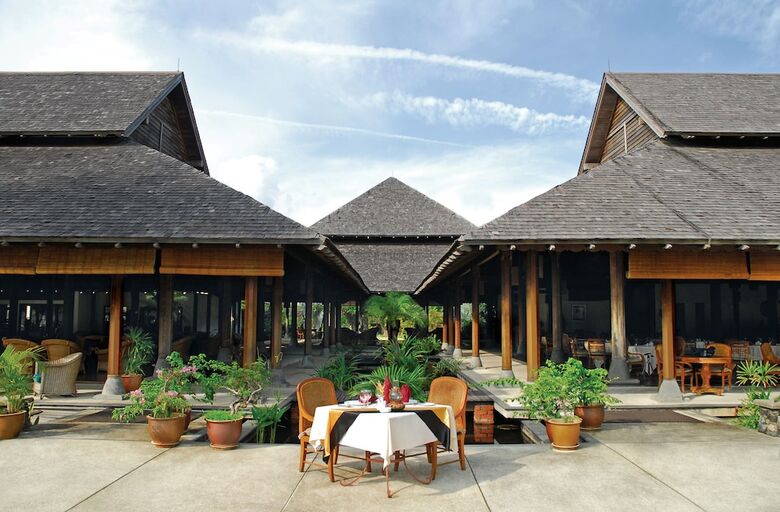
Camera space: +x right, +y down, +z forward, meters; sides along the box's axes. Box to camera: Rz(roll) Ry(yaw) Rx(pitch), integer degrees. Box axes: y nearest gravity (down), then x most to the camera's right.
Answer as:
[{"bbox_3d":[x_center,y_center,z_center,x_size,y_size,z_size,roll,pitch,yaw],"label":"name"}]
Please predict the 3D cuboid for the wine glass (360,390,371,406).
[{"bbox_3d":[-0.491,2.894,11.115,0.255,0.266,0.250,0,-1,-25],"label":"wine glass"}]

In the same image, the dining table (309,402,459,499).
[{"bbox_3d":[0.026,3.486,10.786,1.976,1.208,1.944,-8,-14,38],"label":"dining table"}]

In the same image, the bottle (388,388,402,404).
[{"bbox_3d":[0.115,2.791,10.880,0.272,0.332,0.284,1,-7,-15],"label":"bottle"}]

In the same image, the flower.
[{"bbox_3d":[-5.144,3.150,12.339,1.334,0.831,1.015,-1,15,12],"label":"flower"}]

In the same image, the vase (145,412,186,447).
[{"bbox_3d":[-4.980,3.933,12.237,0.868,0.631,0.854,8,-12,-42],"label":"vase"}]

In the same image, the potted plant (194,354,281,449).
[{"bbox_3d":[-3.899,3.501,13.235,2.210,2.461,2.329,-5,-9,9],"label":"potted plant"}]
